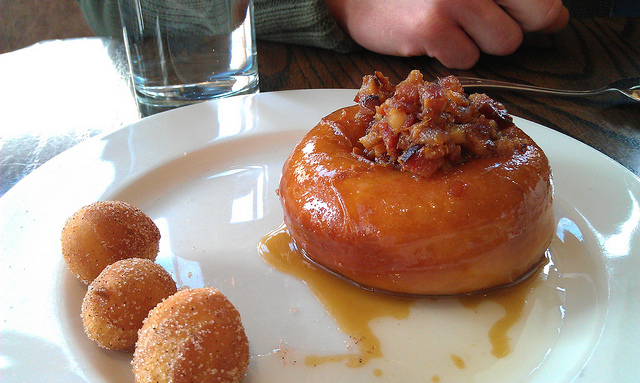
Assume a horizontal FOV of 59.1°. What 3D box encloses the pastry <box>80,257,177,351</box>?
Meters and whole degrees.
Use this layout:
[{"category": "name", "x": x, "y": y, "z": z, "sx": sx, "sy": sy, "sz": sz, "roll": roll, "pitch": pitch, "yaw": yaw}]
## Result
[{"category": "pastry", "x": -0.643, "y": 0.362, "z": 1.932, "sx": 0.270, "sy": 0.171, "sz": 0.303, "roll": 4, "pitch": 32, "yaw": -2}]
